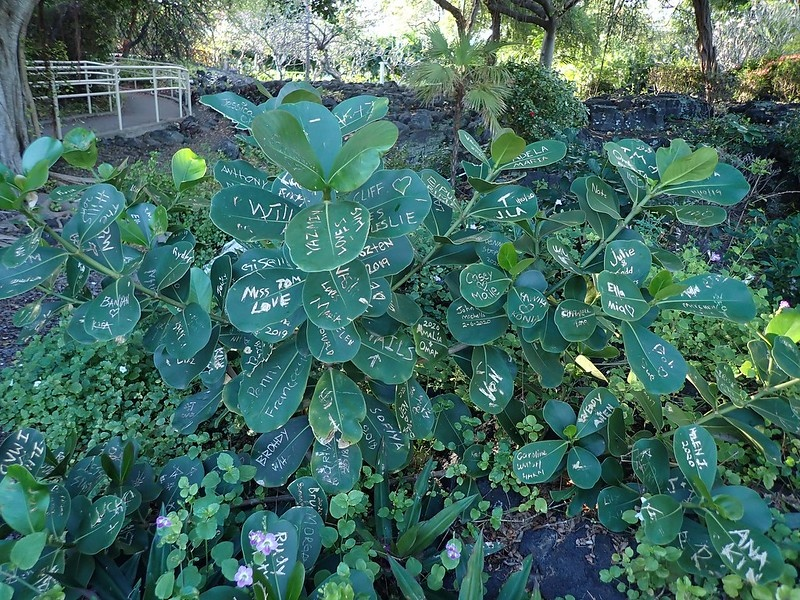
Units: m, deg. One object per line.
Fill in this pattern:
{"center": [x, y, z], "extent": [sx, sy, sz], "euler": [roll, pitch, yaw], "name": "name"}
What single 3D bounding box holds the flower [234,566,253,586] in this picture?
{"center": [-0.480, 0.839, 1.405], "extent": [0.069, 0.067, 0.019], "euler": [0, -17, 3], "name": "flower"}
